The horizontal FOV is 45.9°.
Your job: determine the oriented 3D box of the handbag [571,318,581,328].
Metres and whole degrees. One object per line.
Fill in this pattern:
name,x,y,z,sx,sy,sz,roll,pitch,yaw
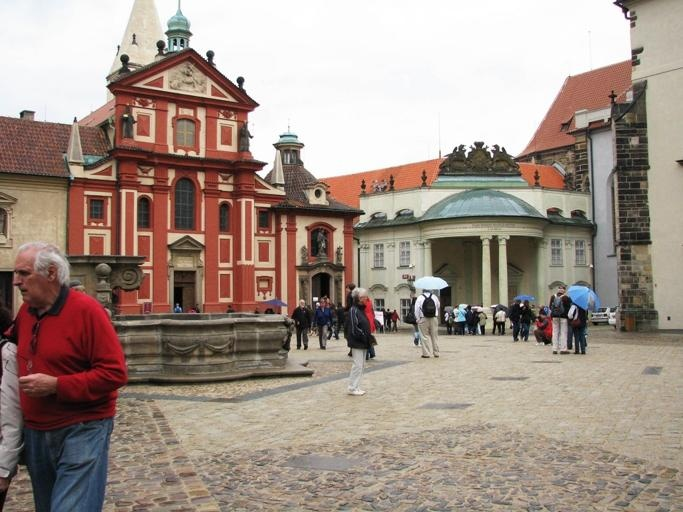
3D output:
handbag,6.456,1.843,22.293,0.207,0.184,0.268,1,-2,-17

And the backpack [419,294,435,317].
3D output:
backpack,2.291,1.338,21.424,0.374,0.525,0.565,-1,2,-3

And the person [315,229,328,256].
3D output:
person,-1.178,-0.817,47.345,0.559,1.592,0.897,0,-1,32
